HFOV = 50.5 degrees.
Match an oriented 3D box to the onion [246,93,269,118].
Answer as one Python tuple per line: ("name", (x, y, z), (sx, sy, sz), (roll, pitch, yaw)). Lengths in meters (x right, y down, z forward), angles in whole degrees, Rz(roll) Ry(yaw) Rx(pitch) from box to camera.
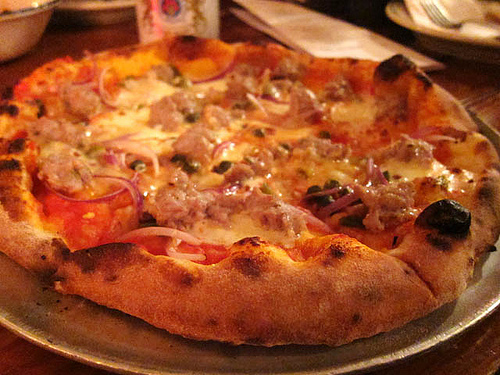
("onion", (0.022, -0.341, 2.213), (0.171, 0.028, 0.038), (37, 94, 25))

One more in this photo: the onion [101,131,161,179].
("onion", (-0.445, -0.119, 1.945), (0.119, 0.043, 0.282), (-26, 36, -33))

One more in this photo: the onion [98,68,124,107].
("onion", (-0.588, -0.395, 2.154), (0.119, 0.124, 0.033), (5, 33, 30))

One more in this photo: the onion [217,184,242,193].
("onion", (-0.072, 0.005, 1.791), (0.064, 0.012, 0.033), (-10, 17, 1))
